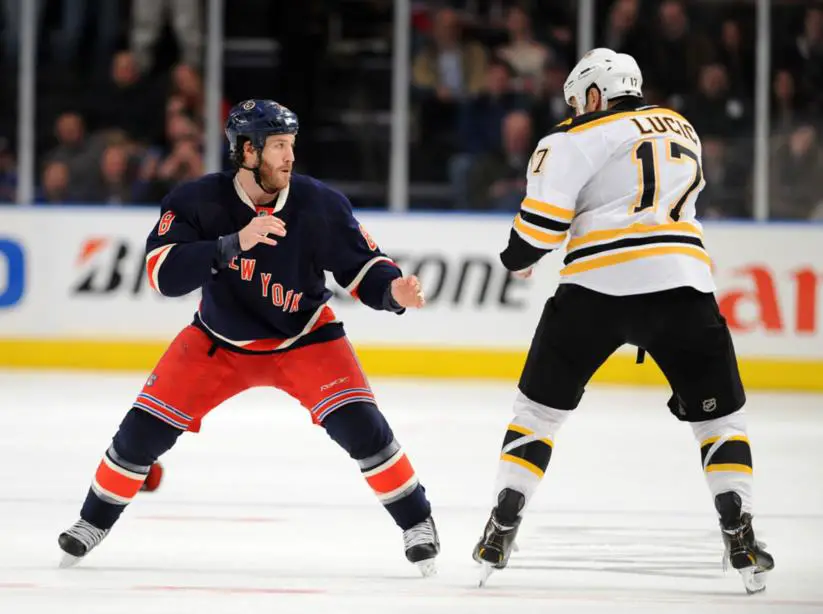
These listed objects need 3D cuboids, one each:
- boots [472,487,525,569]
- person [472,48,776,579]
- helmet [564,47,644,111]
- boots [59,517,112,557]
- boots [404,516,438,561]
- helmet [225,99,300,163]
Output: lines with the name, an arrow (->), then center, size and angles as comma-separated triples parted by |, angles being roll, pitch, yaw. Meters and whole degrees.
boots -> 0.360, 0.824, 4.394 | 0.133, 0.380, 0.171 | 22, -5, 10
person -> 0.836, 0.133, 4.367 | 1.037, 1.760, 0.569 | 6, 12, 4
helmet -> 0.725, -0.905, 4.538 | 0.292, 0.294, 0.234 | 15, 17, 34
boots -> -1.354, 0.899, 4.564 | 0.117, 0.129, 0.320 | 8, -1, -11
boots -> 0.039, 0.903, 4.441 | 0.138, 0.161, 0.137 | 5, 12, 1
helmet -> -0.611, -0.687, 4.493 | 0.301, 0.246, 0.211 | 13, 15, 35
